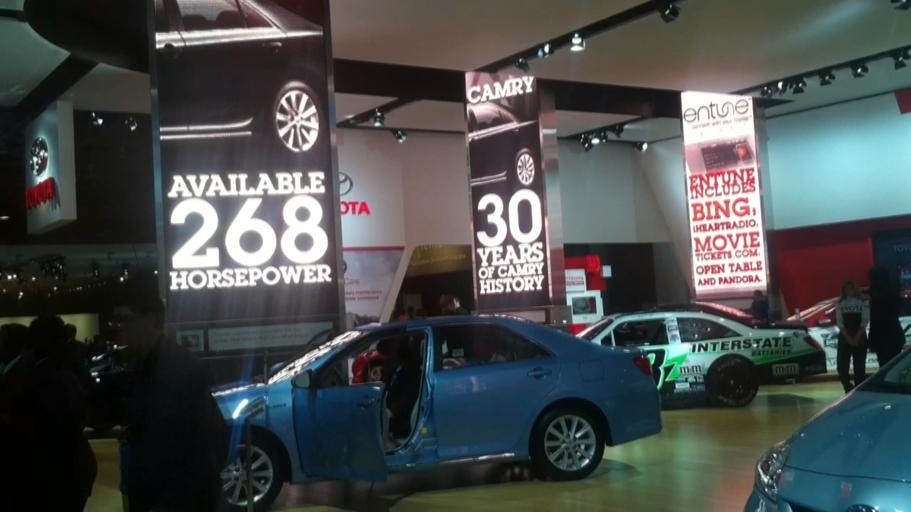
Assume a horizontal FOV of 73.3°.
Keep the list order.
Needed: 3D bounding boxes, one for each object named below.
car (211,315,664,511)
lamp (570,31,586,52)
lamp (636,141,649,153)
[{"bbox_3d":[-0.046,2.065,8.747,5.203,1.655,2.836,0,-5,-8],"label":"car"},{"bbox_3d":[2.697,-4.725,13.492,0.247,0.274,0.320,-4,-2,3],"label":"lamp"},{"bbox_3d":[7.051,-4.083,23.005,0.365,0.285,0.383,-21,28,-19],"label":"lamp"}]
